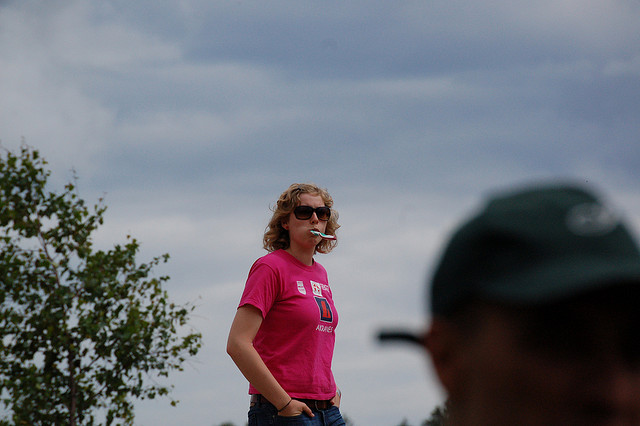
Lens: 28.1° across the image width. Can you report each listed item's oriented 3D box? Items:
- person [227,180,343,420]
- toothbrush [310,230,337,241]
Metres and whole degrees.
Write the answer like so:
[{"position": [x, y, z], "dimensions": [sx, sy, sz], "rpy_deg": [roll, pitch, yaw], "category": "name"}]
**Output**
[{"position": [-0.264, 0.609, 8.926], "dimensions": [0.753, 1.573, 0.580], "rpy_deg": [0, -29, -5], "category": "person"}, {"position": [0.042, 0.160, 9.053], "dimensions": [0.023, 0.072, 0.281], "rpy_deg": [-23, -22, 33], "category": "toothbrush"}]
